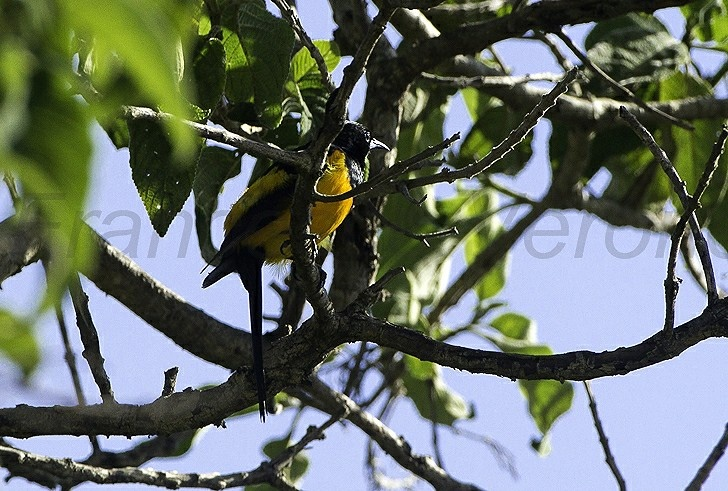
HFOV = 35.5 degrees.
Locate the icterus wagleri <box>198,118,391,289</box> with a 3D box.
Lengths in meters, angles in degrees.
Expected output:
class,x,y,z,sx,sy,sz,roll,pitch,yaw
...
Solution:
class,x,y,z,sx,sy,sz,roll,pitch,yaw
icterus wagleri,-0.469,-0.245,6.761,1.280,0.629,1.144,0,-87,-1
